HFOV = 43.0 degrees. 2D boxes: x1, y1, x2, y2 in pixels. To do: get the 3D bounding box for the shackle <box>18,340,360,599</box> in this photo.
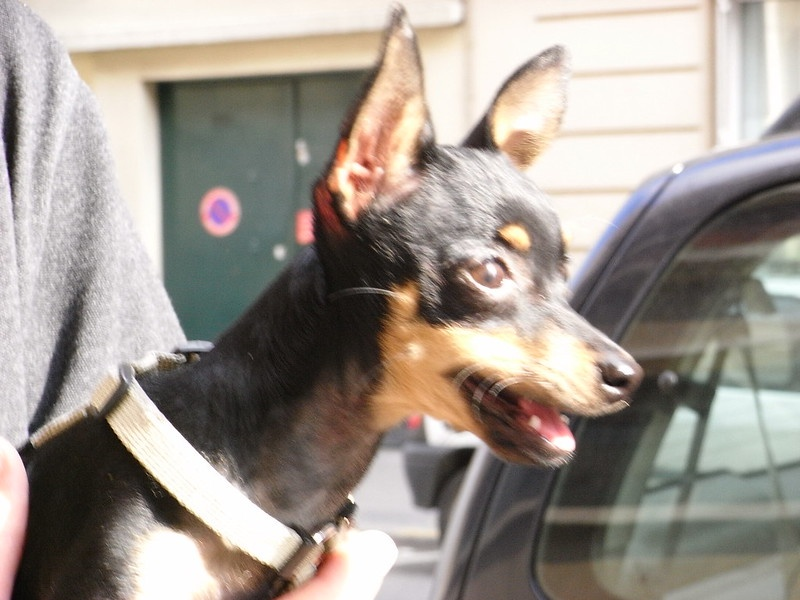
[{"bbox_3d":[-0.364,0.333,1.958,0.212,0.490,0.458,-48,-1,-6],"label":"shackle"}]
